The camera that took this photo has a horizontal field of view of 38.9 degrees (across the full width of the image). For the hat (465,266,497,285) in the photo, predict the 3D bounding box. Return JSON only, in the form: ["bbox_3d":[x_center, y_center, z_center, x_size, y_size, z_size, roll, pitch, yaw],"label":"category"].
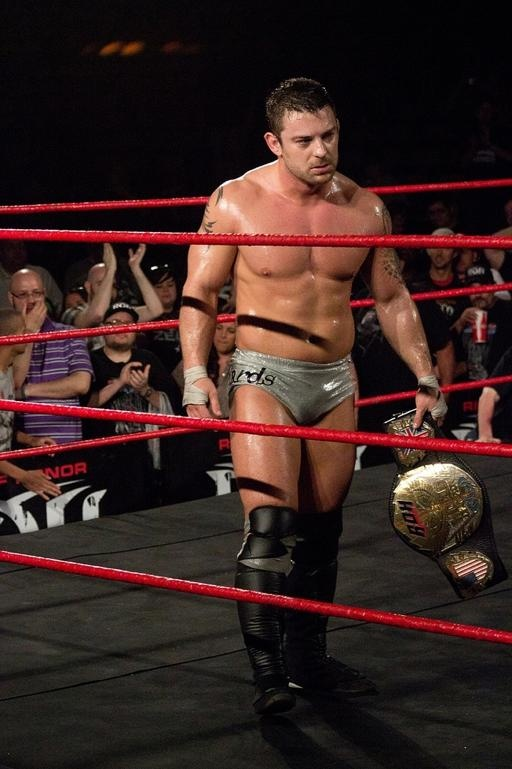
[{"bbox_3d":[1.291,-0.629,4.179,0.149,0.101,0.208,-1,-6,27],"label":"hat"}]

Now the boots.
[{"bbox_3d":[0.092,0.521,1.424,0.192,0.248,0.325,-12,-15,34],"label":"boots"}]
